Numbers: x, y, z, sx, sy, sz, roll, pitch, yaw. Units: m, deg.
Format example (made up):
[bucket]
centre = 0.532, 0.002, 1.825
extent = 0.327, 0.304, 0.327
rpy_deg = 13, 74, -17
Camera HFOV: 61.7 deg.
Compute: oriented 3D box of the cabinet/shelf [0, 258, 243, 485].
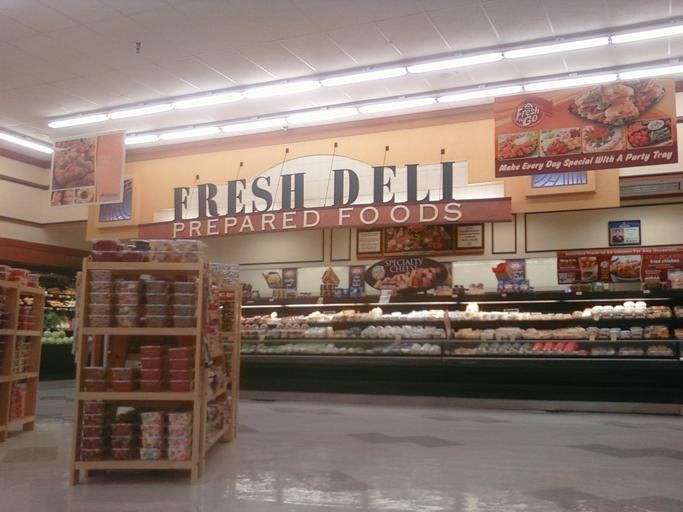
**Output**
[cabinet/shelf]
centre = -2.011, 1.121, 5.314
extent = 1.319, 1.421, 2.810
rpy_deg = -1, -5, -1
